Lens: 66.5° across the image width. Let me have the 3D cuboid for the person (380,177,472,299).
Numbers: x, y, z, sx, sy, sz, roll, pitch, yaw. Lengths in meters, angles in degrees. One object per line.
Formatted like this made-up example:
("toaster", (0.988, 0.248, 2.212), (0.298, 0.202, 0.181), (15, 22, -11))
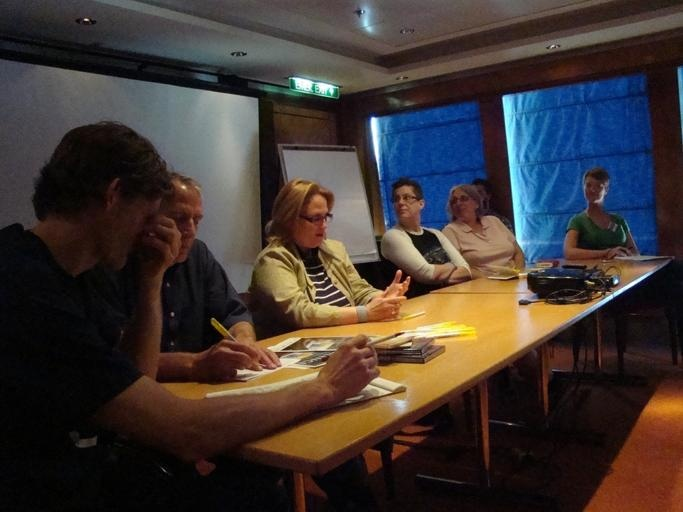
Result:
("person", (0.614, -0.028, 3.809), (0.614, 1.025, 0.590), (-6, 0, -34))

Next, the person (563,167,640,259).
("person", (2.116, -0.357, 4.273), (0.528, 0.750, 0.720), (-1, 8, 28))

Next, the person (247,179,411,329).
("person", (-0.084, 0.060, 2.518), (0.803, 0.781, 0.647), (0, 5, 10))
